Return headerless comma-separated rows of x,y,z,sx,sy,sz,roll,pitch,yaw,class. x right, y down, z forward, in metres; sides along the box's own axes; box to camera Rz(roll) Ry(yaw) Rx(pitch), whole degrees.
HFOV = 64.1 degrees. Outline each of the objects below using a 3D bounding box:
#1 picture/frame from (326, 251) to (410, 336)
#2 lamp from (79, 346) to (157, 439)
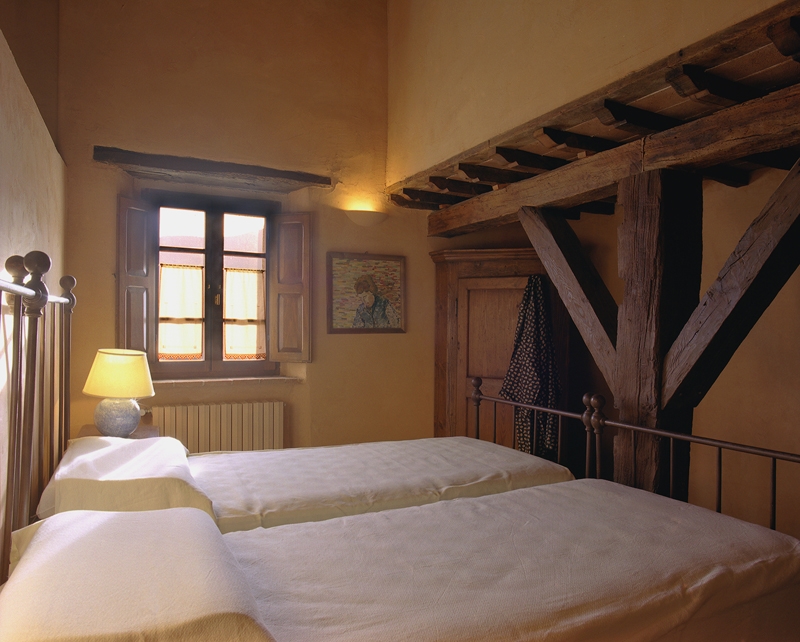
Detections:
-0.308,-0.231,5.408,0.651,0.683,0.050,0,2,-26,picture/frame
-1.610,0.412,3.918,0.465,0.630,0.469,1,3,3,lamp
